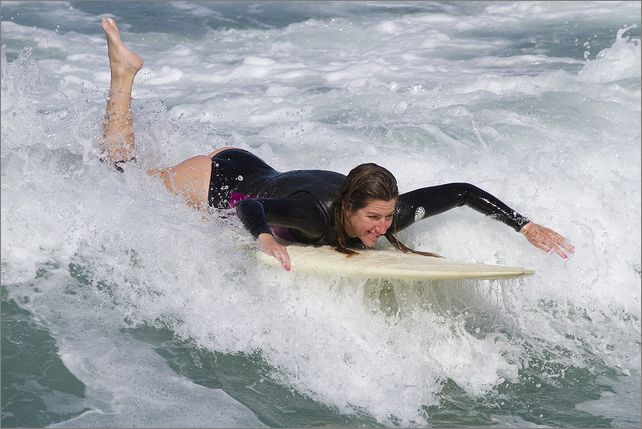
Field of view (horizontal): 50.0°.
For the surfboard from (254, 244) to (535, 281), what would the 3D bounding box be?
[{"bbox_3d":[0.521,0.392,5.442,1.297,0.083,0.217,5,6,15],"label":"surfboard"}]
